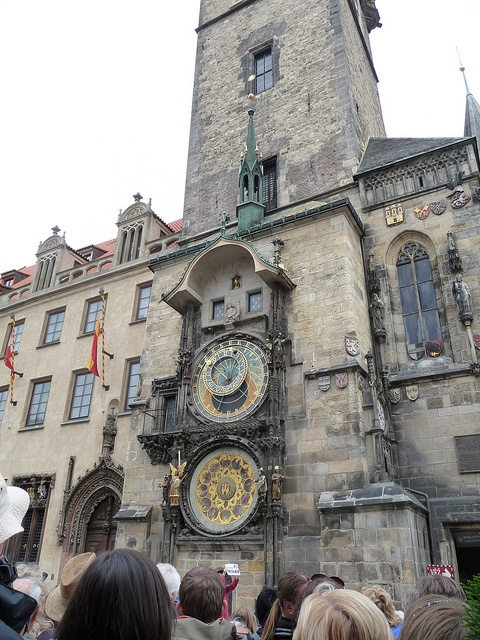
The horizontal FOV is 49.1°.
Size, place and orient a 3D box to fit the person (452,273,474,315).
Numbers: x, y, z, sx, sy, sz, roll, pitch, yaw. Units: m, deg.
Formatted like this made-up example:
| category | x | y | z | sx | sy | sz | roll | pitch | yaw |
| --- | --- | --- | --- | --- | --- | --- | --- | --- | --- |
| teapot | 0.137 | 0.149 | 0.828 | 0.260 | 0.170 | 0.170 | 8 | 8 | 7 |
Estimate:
| category | x | y | z | sx | sy | sz | roll | pitch | yaw |
| --- | --- | --- | --- | --- | --- | --- | --- | --- | --- |
| person | 5.651 | -0.602 | 13.284 | 0.414 | 1.262 | 0.385 | -11 | -30 | 20 |

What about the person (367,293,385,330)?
| category | x | y | z | sx | sy | sz | roll | pitch | yaw |
| --- | --- | --- | --- | --- | --- | --- | --- | --- | --- |
| person | 3.775 | -0.254 | 14.400 | 0.407 | 1.141 | 0.339 | -8 | -29 | 15 |

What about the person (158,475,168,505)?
| category | x | y | z | sx | sy | sz | roll | pitch | yaw |
| --- | --- | --- | --- | --- | --- | --- | --- | --- | --- |
| person | -1.873 | 4.259 | 13.174 | 0.154 | 0.700 | 0.330 | 11 | -30 | -20 |

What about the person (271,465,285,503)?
| category | x | y | z | sx | sy | sz | roll | pitch | yaw |
| --- | --- | --- | --- | --- | --- | --- | --- | --- | --- |
| person | 0.868 | 3.677 | 11.787 | 0.312 | 0.769 | 0.203 | 11 | -30 | -19 |

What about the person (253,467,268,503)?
| category | x | y | z | sx | sy | sz | roll | pitch | yaw |
| --- | --- | --- | --- | --- | --- | --- | --- | --- | --- |
| person | 0.516 | 3.740 | 11.921 | 0.188 | 0.745 | 0.260 | 9 | -29 | -16 |

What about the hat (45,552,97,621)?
| category | x | y | z | sx | sy | sz | roll | pitch | yaw |
| --- | --- | --- | --- | --- | --- | --- | --- | --- | --- |
| hat | -1.528 | 2.210 | 4.660 | 0.216 | 0.571 | 0.417 | -9 | 14 | -44 |

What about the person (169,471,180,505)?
| category | x | y | z | sx | sy | sz | roll | pitch | yaw |
| --- | --- | --- | --- | --- | --- | --- | --- | --- | --- |
| person | -1.592 | 4.176 | 12.936 | 0.271 | 0.725 | 0.304 | 2 | -28 | -4 |
